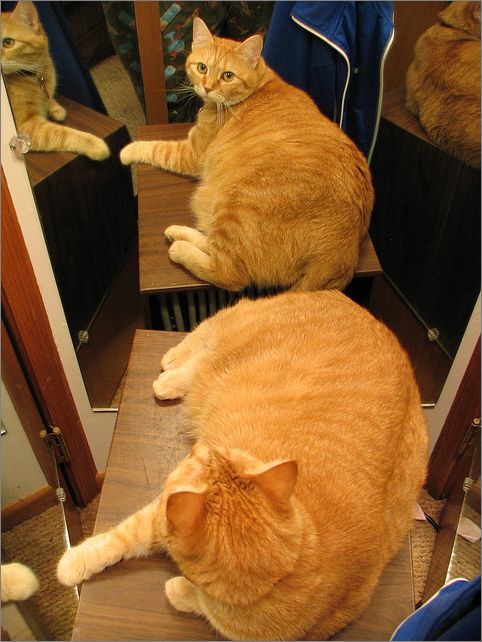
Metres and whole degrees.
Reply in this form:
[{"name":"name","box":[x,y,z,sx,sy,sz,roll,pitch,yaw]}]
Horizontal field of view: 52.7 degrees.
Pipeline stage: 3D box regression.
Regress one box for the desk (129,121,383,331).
[{"name":"desk","box":[-0.014,-0.192,1.426,0.584,0.554,0.601,-2,57,-7]}]

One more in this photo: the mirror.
[{"name":"mirror","box":[0.025,-0.188,1.676,1.221,1.168,0.892,0,53,3]}]

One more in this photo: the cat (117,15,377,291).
[{"name":"cat","box":[-0.024,-0.285,1.482,0.415,1.018,0.745,2,13,-26]}]
